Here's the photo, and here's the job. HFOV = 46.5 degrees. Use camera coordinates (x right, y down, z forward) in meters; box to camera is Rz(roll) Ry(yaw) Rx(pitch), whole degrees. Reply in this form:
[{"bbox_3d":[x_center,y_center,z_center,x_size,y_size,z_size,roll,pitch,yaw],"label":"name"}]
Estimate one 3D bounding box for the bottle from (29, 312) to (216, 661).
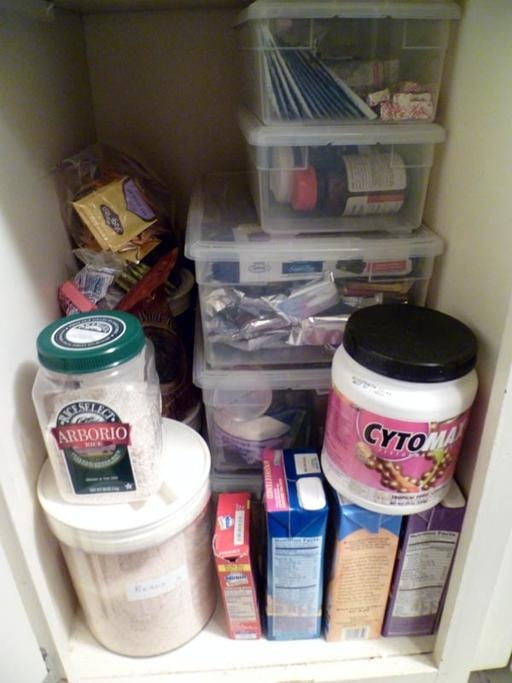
[{"bbox_3d":[-0.145,0.177,0.728,0.214,0.420,0.184,-24,38,-35],"label":"bottle"}]
